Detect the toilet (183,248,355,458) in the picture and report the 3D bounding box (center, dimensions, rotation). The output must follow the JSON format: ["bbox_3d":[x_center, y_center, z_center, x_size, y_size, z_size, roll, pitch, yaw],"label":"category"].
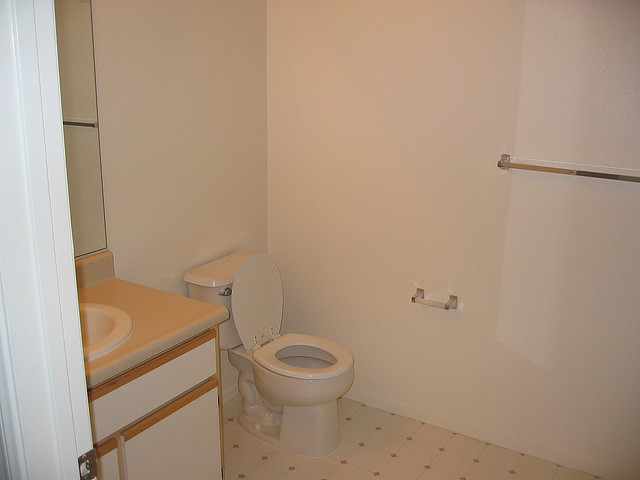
[{"bbox_3d":[-0.171,0.441,2.955,1.011,1.165,0.708,10,21,28],"label":"toilet"}]

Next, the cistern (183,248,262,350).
[{"bbox_3d":[-0.441,0.279,2.344,0.230,0.324,0.369,13,24,26],"label":"cistern"}]

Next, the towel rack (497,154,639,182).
[{"bbox_3d":[1.062,-0.292,2.232,0.569,0.069,0.046,15,23,27],"label":"towel rack"}]

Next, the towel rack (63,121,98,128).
[{"bbox_3d":[-0.925,-0.448,1.992,0.013,0.034,0.136,17,25,33],"label":"towel rack"}]

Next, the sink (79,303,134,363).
[{"bbox_3d":[-0.738,0.305,1.759,0.187,0.078,0.209,19,27,21],"label":"sink"}]
